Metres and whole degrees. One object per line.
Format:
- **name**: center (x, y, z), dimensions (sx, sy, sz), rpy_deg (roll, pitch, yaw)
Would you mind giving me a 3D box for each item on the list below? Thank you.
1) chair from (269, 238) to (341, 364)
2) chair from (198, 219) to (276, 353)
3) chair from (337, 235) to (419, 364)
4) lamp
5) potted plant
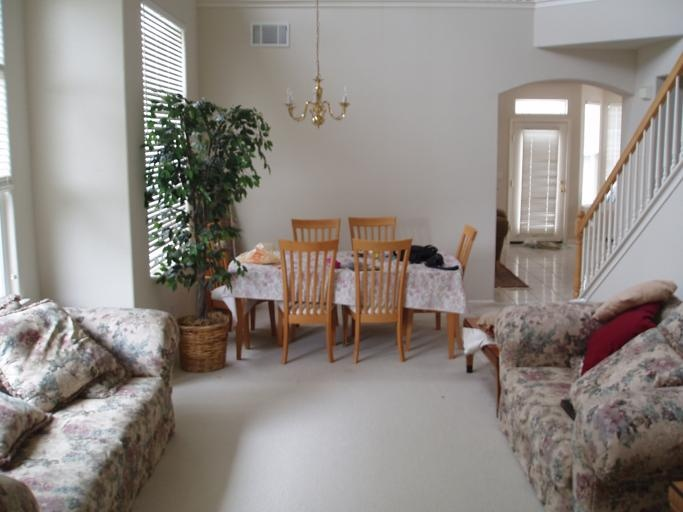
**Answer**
- **chair**: center (-0.305, 0.335, 4.516), dimensions (0.574, 1.282, 0.648), rpy_deg (-5, 24, -15)
- **chair**: center (-1.029, 0.350, 4.853), dimensions (0.649, 1.040, 0.708), rpy_deg (14, 6, -38)
- **chair**: center (0.360, 0.379, 4.560), dimensions (0.556, 1.172, 0.695), rpy_deg (0, 9, -8)
- **lamp**: center (-0.245, -2.124, 5.168), dimensions (0.740, 1.459, 1.327), rpy_deg (-1, 12, -4)
- **potted plant**: center (-1.220, -0.324, 4.667), dimensions (1.065, 2.396, 1.623), rpy_deg (-1, 12, -7)
